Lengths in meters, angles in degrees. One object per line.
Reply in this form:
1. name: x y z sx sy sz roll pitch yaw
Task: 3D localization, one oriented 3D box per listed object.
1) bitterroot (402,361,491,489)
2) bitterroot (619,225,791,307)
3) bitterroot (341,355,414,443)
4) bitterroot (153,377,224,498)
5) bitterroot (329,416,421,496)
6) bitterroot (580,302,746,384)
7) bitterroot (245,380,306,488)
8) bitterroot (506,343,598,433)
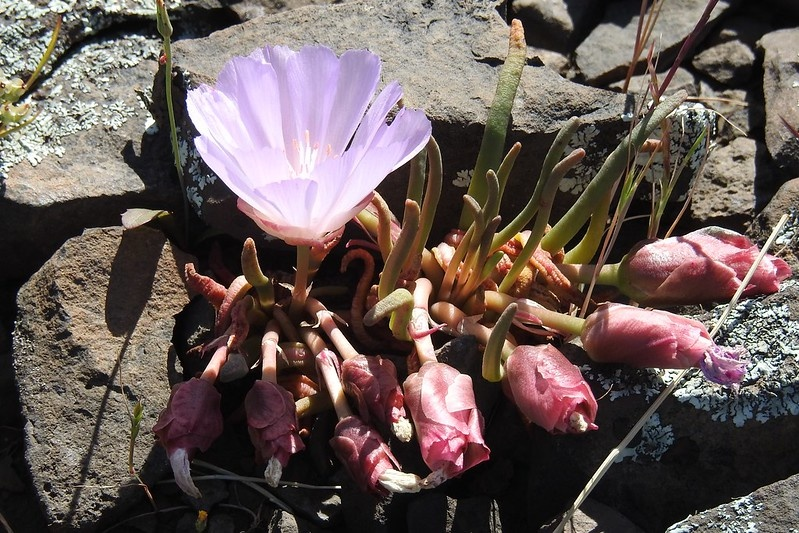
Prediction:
1. bitterroot: 0.153 0.497 2.458 0.240 0.192 0.413 -28 50 5
2. bitterroot: 1.074 0.009 2.585 0.501 0.276 0.206 1 81 1
3. bitterroot: -0.065 0.453 2.556 0.206 0.170 0.372 -7 35 -26
4. bitterroot: -0.700 0.553 2.464 0.228 0.177 0.394 10 75 -7
5. bitterroot: -0.088 0.653 2.473 0.185 0.167 0.377 -15 34 -41
6. bitterroot: 0.897 0.217 2.546 0.526 0.197 0.253 10 22 22
7. bitterroot: -0.406 0.574 2.544 0.200 0.124 0.334 -21 73 9
8. bitterroot: 0.496 0.402 2.500 0.189 0.176 0.379 -21 28 -9
